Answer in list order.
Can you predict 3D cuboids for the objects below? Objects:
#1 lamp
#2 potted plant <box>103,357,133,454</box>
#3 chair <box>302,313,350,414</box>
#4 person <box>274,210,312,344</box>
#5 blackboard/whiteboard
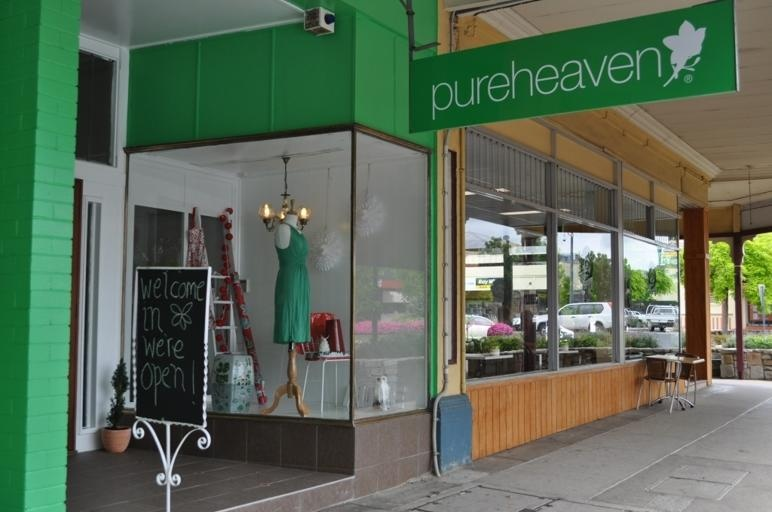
[{"bbox_3d":[-1.193,-0.750,7.421,0.594,0.973,0.588,4,-12,-24],"label":"lamp"},{"bbox_3d":[-2.951,1.656,6.867,0.303,1.002,0.332,1,-6,-25],"label":"potted plant"},{"bbox_3d":[-0.674,1.121,6.826,0.410,1.020,0.719,2,-6,-32],"label":"chair"},{"bbox_3d":[-1.031,0.309,6.876,0.389,1.317,0.219,0,-5,-12],"label":"person"},{"bbox_3d":[-1.818,0.745,5.295,0.795,1.339,0.126,-4,-6,26],"label":"blackboard/whiteboard"}]
